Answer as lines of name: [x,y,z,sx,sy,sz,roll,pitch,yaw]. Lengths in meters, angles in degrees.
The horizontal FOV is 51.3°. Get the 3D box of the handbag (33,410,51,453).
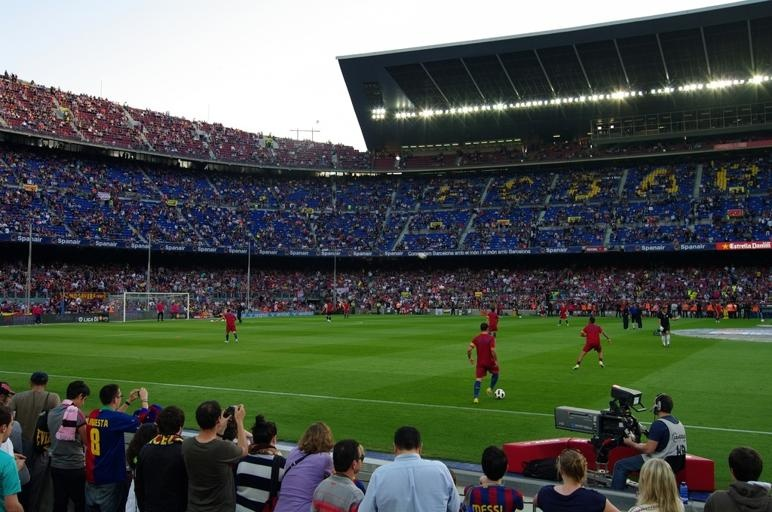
handbag: [-12.505,6.520,29.298,0.794,1.249,1.340,7,1,-22]

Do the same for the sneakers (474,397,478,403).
sneakers: [4.116,6.647,36.864,0.176,0.201,0.462,-2,-12,4]

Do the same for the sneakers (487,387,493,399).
sneakers: [4.909,6.461,37.970,0.272,0.194,0.544,-29,-5,0]

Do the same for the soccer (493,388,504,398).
soccer: [5.298,6.418,37.379,0.439,0.241,0.420,1,0,28]
